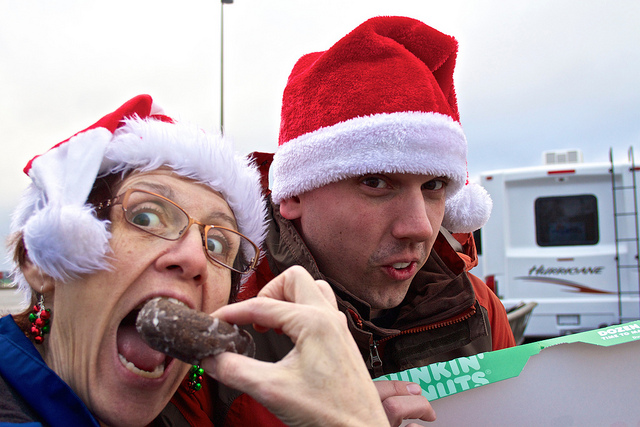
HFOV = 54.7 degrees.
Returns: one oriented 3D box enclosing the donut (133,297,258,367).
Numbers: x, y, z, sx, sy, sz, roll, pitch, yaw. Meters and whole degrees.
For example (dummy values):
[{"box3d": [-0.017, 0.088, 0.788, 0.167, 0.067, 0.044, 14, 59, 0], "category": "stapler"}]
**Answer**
[{"box3d": [-0.514, 0.499, 2.629, 0.478, 0.191, 0.233, 15, -46, -7], "category": "donut"}]
